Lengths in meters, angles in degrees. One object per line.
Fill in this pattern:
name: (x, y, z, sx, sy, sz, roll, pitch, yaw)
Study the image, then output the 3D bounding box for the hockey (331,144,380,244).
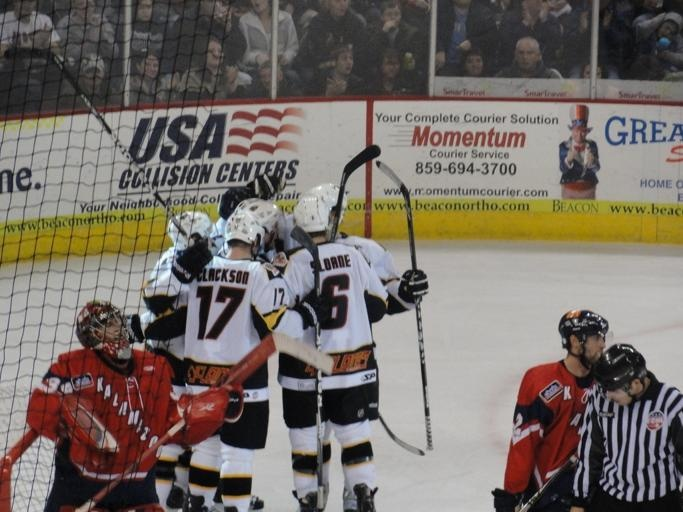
hockey: (0.123, -0.512, 15.088, 0.391, 1.031, 0.452, -3, 13, -6)

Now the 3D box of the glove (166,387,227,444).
glove: (-1.243, 1.388, 13.843, 0.437, 0.459, 0.189, -1, 1, -18)

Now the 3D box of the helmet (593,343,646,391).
helmet: (2.418, 0.957, 13.699, 0.483, 0.394, 0.404, 0, 11, 15)

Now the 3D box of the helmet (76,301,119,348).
helmet: (-2.120, 0.644, 13.883, 0.447, 0.477, 0.384, -6, -5, 9)
